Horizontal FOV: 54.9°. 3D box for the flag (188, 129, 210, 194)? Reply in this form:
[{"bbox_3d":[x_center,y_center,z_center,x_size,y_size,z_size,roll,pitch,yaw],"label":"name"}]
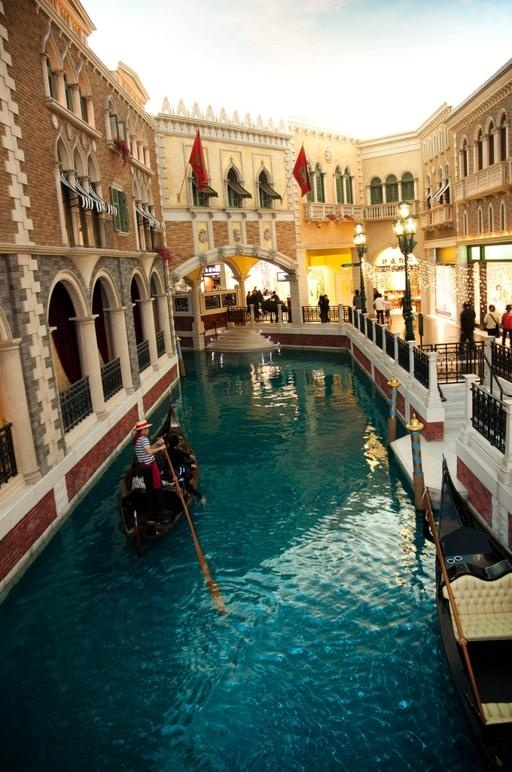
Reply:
[{"bbox_3d":[-2.550,-9.702,20.978,0.643,2.594,2.492,-5,6,-4],"label":"flag"}]

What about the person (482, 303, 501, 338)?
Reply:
[{"bbox_3d":[7.125,-1.904,14.742,0.372,1.024,1.233,-1,7,28],"label":"person"}]

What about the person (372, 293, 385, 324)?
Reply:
[{"bbox_3d":[5.672,-3.543,22.473,0.432,1.410,2.089,-3,7,15],"label":"person"}]

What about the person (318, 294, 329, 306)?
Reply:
[{"bbox_3d":[3.567,-4.526,26.024,0.406,0.486,1.028,-3,6,11],"label":"person"}]

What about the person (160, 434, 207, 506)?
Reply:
[{"bbox_3d":[-1.381,1.416,9.029,0.414,0.322,2.137,-7,30,-9],"label":"person"}]

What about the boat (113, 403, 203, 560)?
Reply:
[{"bbox_3d":[-1.662,1.558,8.651,0.923,1.068,3.406,-3,27,6],"label":"boat"}]
